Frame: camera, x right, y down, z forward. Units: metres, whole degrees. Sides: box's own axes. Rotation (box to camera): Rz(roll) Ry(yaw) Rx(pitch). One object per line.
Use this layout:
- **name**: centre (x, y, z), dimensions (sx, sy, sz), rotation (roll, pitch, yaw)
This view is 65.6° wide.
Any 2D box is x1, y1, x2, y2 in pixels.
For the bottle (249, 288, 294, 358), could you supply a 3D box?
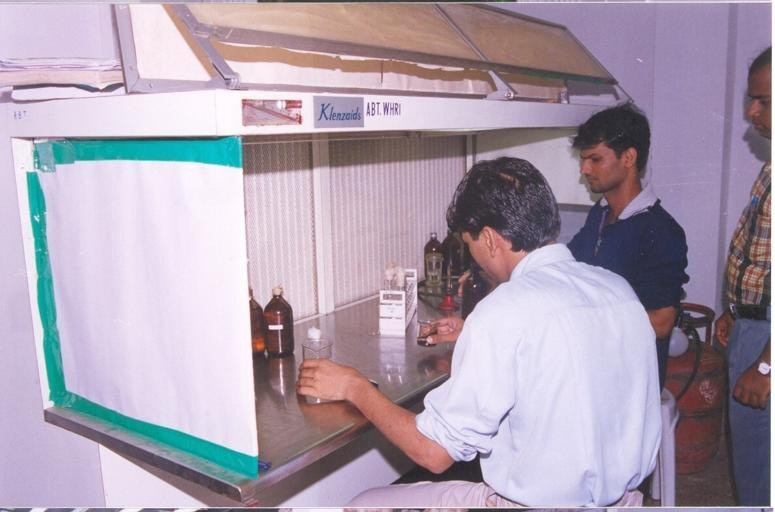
- **bottle**: centre (-0.509, 0.290, 2.631), dimensions (0.179, 0.319, 0.086), rotation (-2, 10, -13)

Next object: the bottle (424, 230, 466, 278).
- **bottle**: centre (0.355, -0.040, 3.765), dimensions (0.279, 0.453, 0.318), rotation (-1, 4, 4)

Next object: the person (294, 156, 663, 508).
- **person**: centre (0.423, 0.277, 2.069), dimensions (1.123, 1.231, 0.420), rotation (0, 10, -5)

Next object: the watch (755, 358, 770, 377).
- **watch**: centre (1.760, 0.517, 2.794), dimensions (0.065, 0.061, 0.062), rotation (-16, 16, -42)
